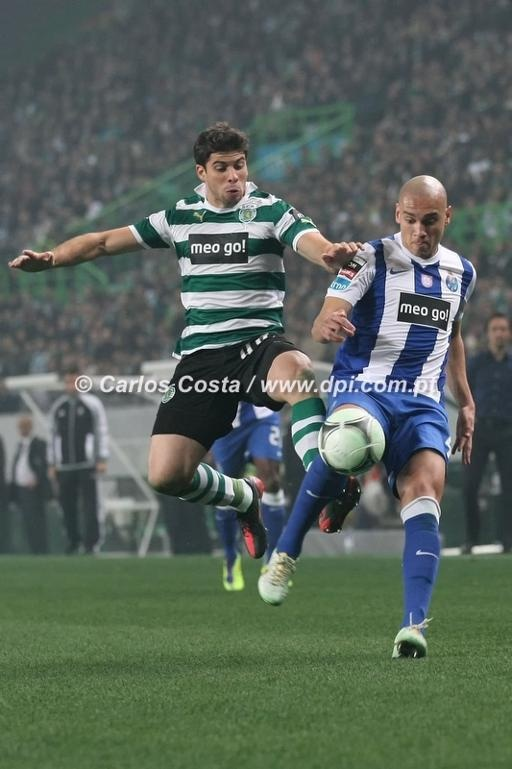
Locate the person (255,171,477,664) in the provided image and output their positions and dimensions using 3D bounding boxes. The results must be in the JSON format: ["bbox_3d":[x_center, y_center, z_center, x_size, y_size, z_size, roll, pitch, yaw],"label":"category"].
[{"bbox_3d":[0.355,0.144,2.954,0.597,1.546,1.118,3,13,12],"label":"person"}]

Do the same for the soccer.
[{"bbox_3d":[0.257,0.158,2.750,0.170,0.179,0.104,8,16,32],"label":"soccer"}]

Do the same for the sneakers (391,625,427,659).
[{"bbox_3d":[0.393,0.667,2.473,0.051,0.113,0.055,1,6,33],"label":"sneakers"}]

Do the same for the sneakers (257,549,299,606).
[{"bbox_3d":[0.064,0.603,2.982,0.109,0.174,0.136,1,13,3],"label":"sneakers"}]
